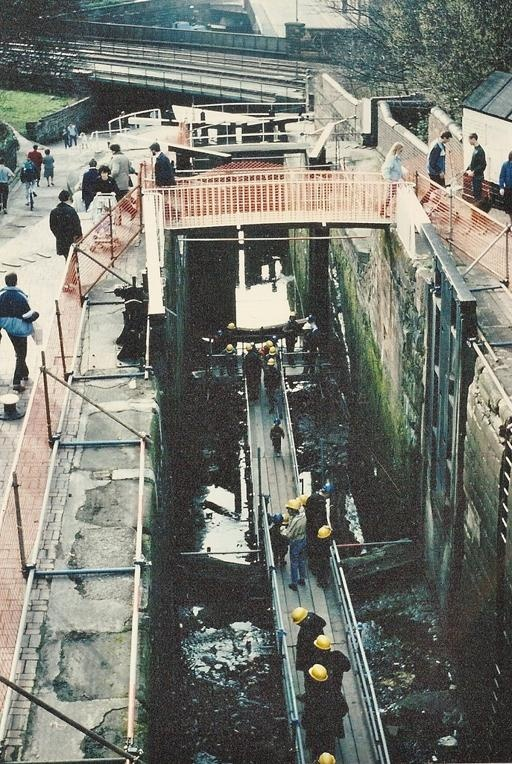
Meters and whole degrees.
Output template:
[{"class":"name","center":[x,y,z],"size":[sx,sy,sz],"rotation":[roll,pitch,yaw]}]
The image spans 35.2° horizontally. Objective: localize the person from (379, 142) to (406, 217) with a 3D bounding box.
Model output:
[{"class":"person","center":[2.835,-4.273,16.719],"size":[0.395,1.447,0.589],"rotation":[23,51,26]}]

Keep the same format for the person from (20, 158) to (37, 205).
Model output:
[{"class":"person","center":[-7.795,-6.806,27.656],"size":[0.435,1.543,1.762],"rotation":[-5,17,-15]}]

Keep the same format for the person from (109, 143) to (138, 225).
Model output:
[{"class":"person","center":[-3.040,-4.500,17.996],"size":[0.404,1.602,0.472],"rotation":[15,23,37]}]

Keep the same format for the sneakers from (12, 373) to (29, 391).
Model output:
[{"class":"sneakers","center":[-3.955,0.027,13.538],"size":[0.112,0.183,0.398],"rotation":[6,28,0]}]

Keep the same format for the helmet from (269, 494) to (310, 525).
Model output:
[{"class":"helmet","center":[0.505,2.112,13.147],"size":[0.652,0.257,0.421],"rotation":[-41,18,-27]}]

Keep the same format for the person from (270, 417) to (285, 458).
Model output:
[{"class":"person","center":[0.442,1.132,18.234],"size":[0.321,0.762,1.041],"rotation":[-1,18,2]}]

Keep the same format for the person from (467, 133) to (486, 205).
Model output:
[{"class":"person","center":[4.142,-4.098,15.403],"size":[0.339,1.358,2.440],"rotation":[2,19,14]}]

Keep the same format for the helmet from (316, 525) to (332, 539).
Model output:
[{"class":"helmet","center":[0.970,2.214,11.632],"size":[0.161,0.141,0.208],"rotation":[-24,4,1]}]

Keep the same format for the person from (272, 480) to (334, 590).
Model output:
[{"class":"person","center":[0.712,2.347,11.954],"size":[0.737,1.649,1.079],"rotation":[0,16,4]}]

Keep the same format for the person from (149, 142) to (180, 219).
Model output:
[{"class":"person","center":[-2.122,-4.651,17.902],"size":[0.414,1.429,0.541],"rotation":[-7,48,-7]}]

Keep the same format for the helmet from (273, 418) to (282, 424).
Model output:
[{"class":"helmet","center":[0.471,0.944,19.194],"size":[0.118,0.119,0.156],"rotation":[1,14,-5]}]

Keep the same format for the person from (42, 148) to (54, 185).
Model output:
[{"class":"person","center":[-7.974,-8.231,30.939],"size":[0.353,1.367,1.526],"rotation":[-5,17,-14]}]
